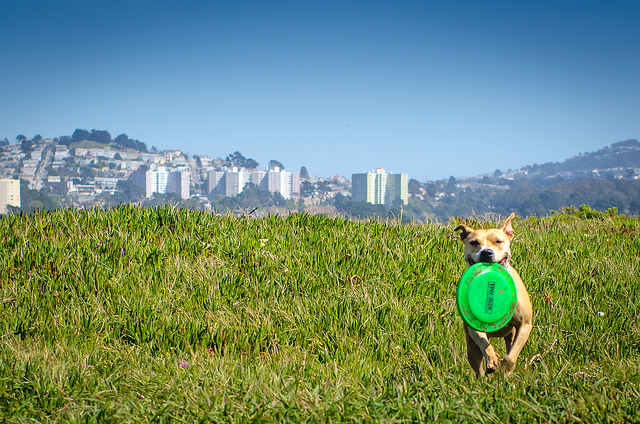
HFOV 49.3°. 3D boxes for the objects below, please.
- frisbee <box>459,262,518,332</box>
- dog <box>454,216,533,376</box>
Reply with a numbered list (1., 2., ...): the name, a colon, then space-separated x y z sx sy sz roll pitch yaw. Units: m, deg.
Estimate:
1. frisbee: 1.387 0.705 5.777 0.599 0.668 0.096 -1 1 -9
2. dog: 1.648 0.852 6.526 0.584 1.323 2.084 -4 -14 16
